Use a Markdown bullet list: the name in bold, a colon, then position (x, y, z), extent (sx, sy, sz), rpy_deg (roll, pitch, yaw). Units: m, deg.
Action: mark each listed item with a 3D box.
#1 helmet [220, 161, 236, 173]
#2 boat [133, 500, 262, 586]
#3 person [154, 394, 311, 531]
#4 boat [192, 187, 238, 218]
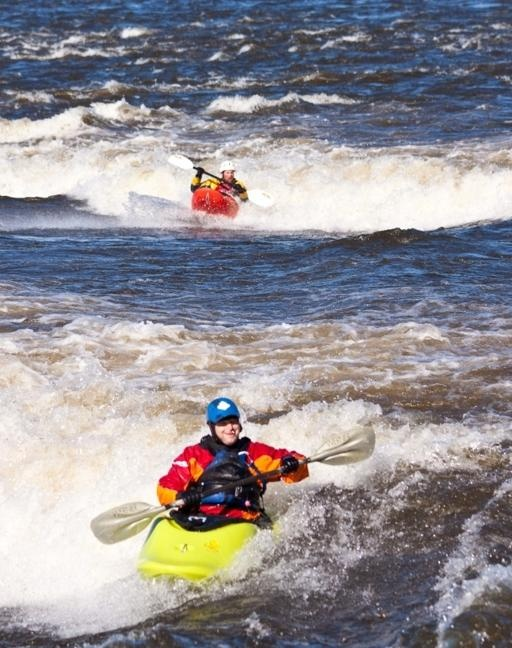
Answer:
- **helmet**: position (-0.554, -3.043, 16.906), extent (0.258, 0.238, 0.327), rpy_deg (-3, -2, -5)
- **boat**: position (-0.369, 1.455, 6.251), extent (0.805, 0.285, 1.046), rpy_deg (2, 21, 17)
- **person**: position (-0.161, 1.288, 6.533), extent (1.128, 1.313, 0.513), rpy_deg (-8, 2, -10)
- **boat**: position (-0.832, -2.354, 16.831), extent (0.644, 0.363, 0.686), rpy_deg (12, 0, -32)
